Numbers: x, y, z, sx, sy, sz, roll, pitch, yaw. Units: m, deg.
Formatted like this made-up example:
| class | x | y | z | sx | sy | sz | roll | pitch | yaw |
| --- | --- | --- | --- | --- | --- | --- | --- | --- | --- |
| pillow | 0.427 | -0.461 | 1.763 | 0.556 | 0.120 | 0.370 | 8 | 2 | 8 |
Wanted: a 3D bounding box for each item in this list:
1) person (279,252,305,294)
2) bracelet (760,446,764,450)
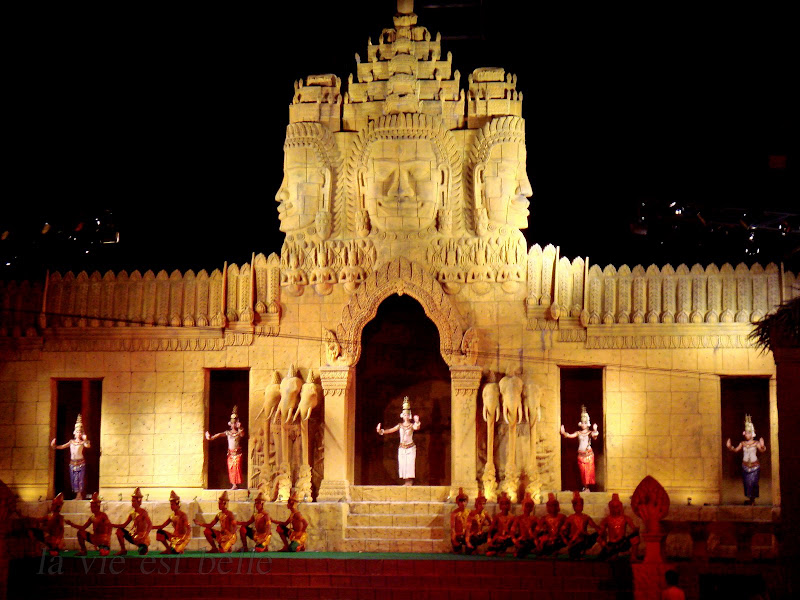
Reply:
| class | x | y | z | sx | sy | sz | roll | pitch | yaw |
| --- | --- | --- | --- | --- | --- | --- | --- | --- | --- |
| person | -2.310 | -0.587 | 24.725 | 0.687 | 1.271 | 0.210 | -2 | -6 | 8 |
| bracelet | 7.450 | 3.012 | 23.673 | 0.081 | 0.031 | 0.082 | 5 | -1 | -32 |
